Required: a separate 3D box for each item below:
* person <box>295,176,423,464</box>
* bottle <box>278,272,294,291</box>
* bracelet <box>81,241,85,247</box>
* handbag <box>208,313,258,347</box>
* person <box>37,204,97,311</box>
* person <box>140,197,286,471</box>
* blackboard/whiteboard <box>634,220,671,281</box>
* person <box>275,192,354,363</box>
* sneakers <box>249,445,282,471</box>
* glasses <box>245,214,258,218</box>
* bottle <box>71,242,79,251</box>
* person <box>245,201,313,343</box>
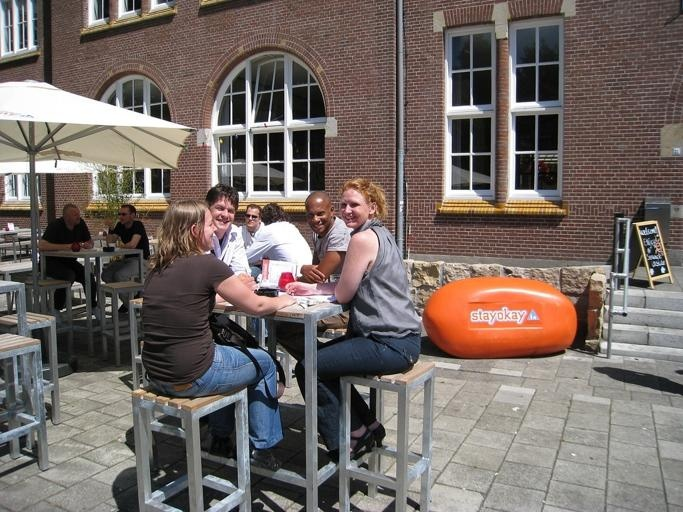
[{"bbox_3d":[0.230,0.468,4.350,0.758,2.106,0.840,2,10,8],"label":"person"},{"bbox_3d":[-0.456,0.214,4.555,0.136,0.139,0.141,1,-2,11],"label":"bottle"},{"bbox_3d":[-4.262,-0.206,8.995,0.066,0.090,0.029,2,9,29],"label":"bracelet"},{"bbox_3d":[-0.896,0.613,4.426,0.358,0.143,0.251,39,-11,-36],"label":"handbag"},{"bbox_3d":[-4.336,0.061,8.784,0.952,1.715,0.741,4,6,20],"label":"person"},{"bbox_3d":[-0.953,0.607,4.067,1.019,1.995,0.449,-3,10,-17],"label":"person"},{"bbox_3d":[4.889,-0.042,8.676,0.460,0.989,0.853,9,13,42],"label":"blackboard/whiteboard"},{"bbox_3d":[-0.299,0.272,5.157,0.888,1.670,0.623,-14,19,-32],"label":"person"},{"bbox_3d":[-0.582,1.538,4.265,0.232,0.235,0.127,0,3,13],"label":"sneakers"},{"bbox_3d":[-1.393,-0.620,8.398,0.167,0.050,0.165,2,1,5],"label":"glasses"},{"bbox_3d":[-3.947,-0.120,8.092,0.110,0.132,0.109,22,-30,-40],"label":"bottle"},{"bbox_3d":[-0.874,-0.032,7.004,0.725,1.315,0.564,2,23,-5],"label":"person"}]
